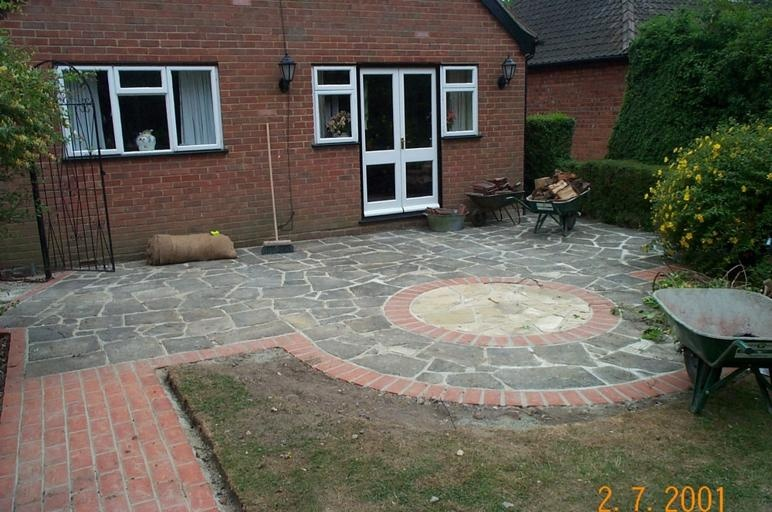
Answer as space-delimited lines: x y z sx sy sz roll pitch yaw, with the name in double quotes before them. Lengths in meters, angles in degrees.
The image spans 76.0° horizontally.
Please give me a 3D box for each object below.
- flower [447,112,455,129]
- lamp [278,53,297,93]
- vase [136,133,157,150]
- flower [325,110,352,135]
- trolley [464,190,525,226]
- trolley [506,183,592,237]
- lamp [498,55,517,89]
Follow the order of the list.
"flower" 1.505 -3.210 11.632 0.290 0.453 0.072 -11 19 -33
"lamp" -1.993 -3.659 9.758 0.374 0.756 0.520 -4 15 -9
"vase" -4.537 -2.162 9.271 0.372 0.282 0.380 15 20 35
"flower" -1.041 -2.848 10.578 0.514 0.525 0.115 -9 18 -29
"trolley" 2.725 -1.148 11.840 1.569 0.606 0.850 -1 0 -36
"trolley" 3.696 -1.032 10.689 1.148 1.012 1.211 5 14 23
"lamp" 2.866 -4.401 11.748 0.418 0.784 0.572 2 15 11
